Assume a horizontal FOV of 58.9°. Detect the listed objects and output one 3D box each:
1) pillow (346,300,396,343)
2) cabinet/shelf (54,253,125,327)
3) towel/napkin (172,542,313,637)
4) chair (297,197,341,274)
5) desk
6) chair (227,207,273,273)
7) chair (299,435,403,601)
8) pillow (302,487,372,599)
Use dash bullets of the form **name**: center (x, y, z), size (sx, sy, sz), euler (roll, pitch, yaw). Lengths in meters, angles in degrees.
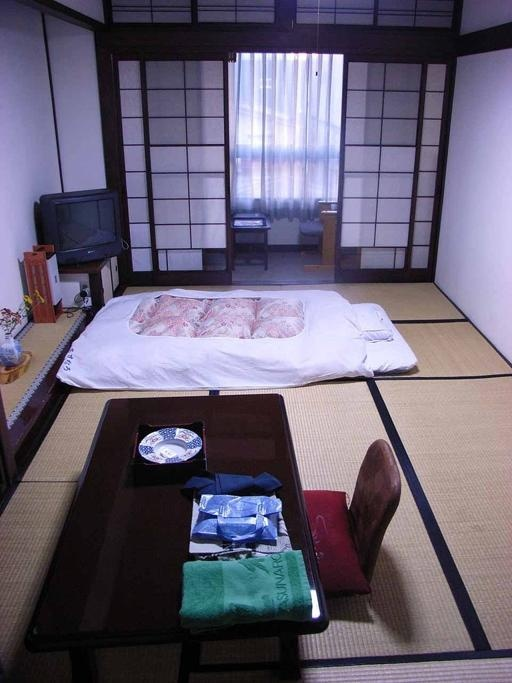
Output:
- **pillow**: center (0.969, -0.167, 3.771), size (0.375, 0.211, 0.856), euler (5, 21, 15)
- **cabinet/shelf**: center (-1.513, -0.459, 4.006), size (0.241, 0.389, 0.782), euler (-1, 43, -5)
- **towel/napkin**: center (-0.022, 0.527, 0.962), size (0.173, 0.056, 0.134), euler (-1, 17, -4)
- **chair**: center (0.865, -1.392, 5.984), size (0.389, 0.805, 1.522), euler (2, 21, 7)
- **desk**: center (-0.179, 0.609, 1.240), size (0.604, 0.259, 1.057), euler (1, 39, -2)
- **chair**: center (-0.071, -1.458, 6.150), size (0.537, 0.763, 0.848), euler (1, 52, 1)
- **chair**: center (0.336, 0.627, 1.581), size (0.375, 0.482, 0.340), euler (1, 53, -2)
- **pillow**: center (0.230, 0.697, 1.534), size (0.250, 0.063, 0.272), euler (19, 46, -43)
